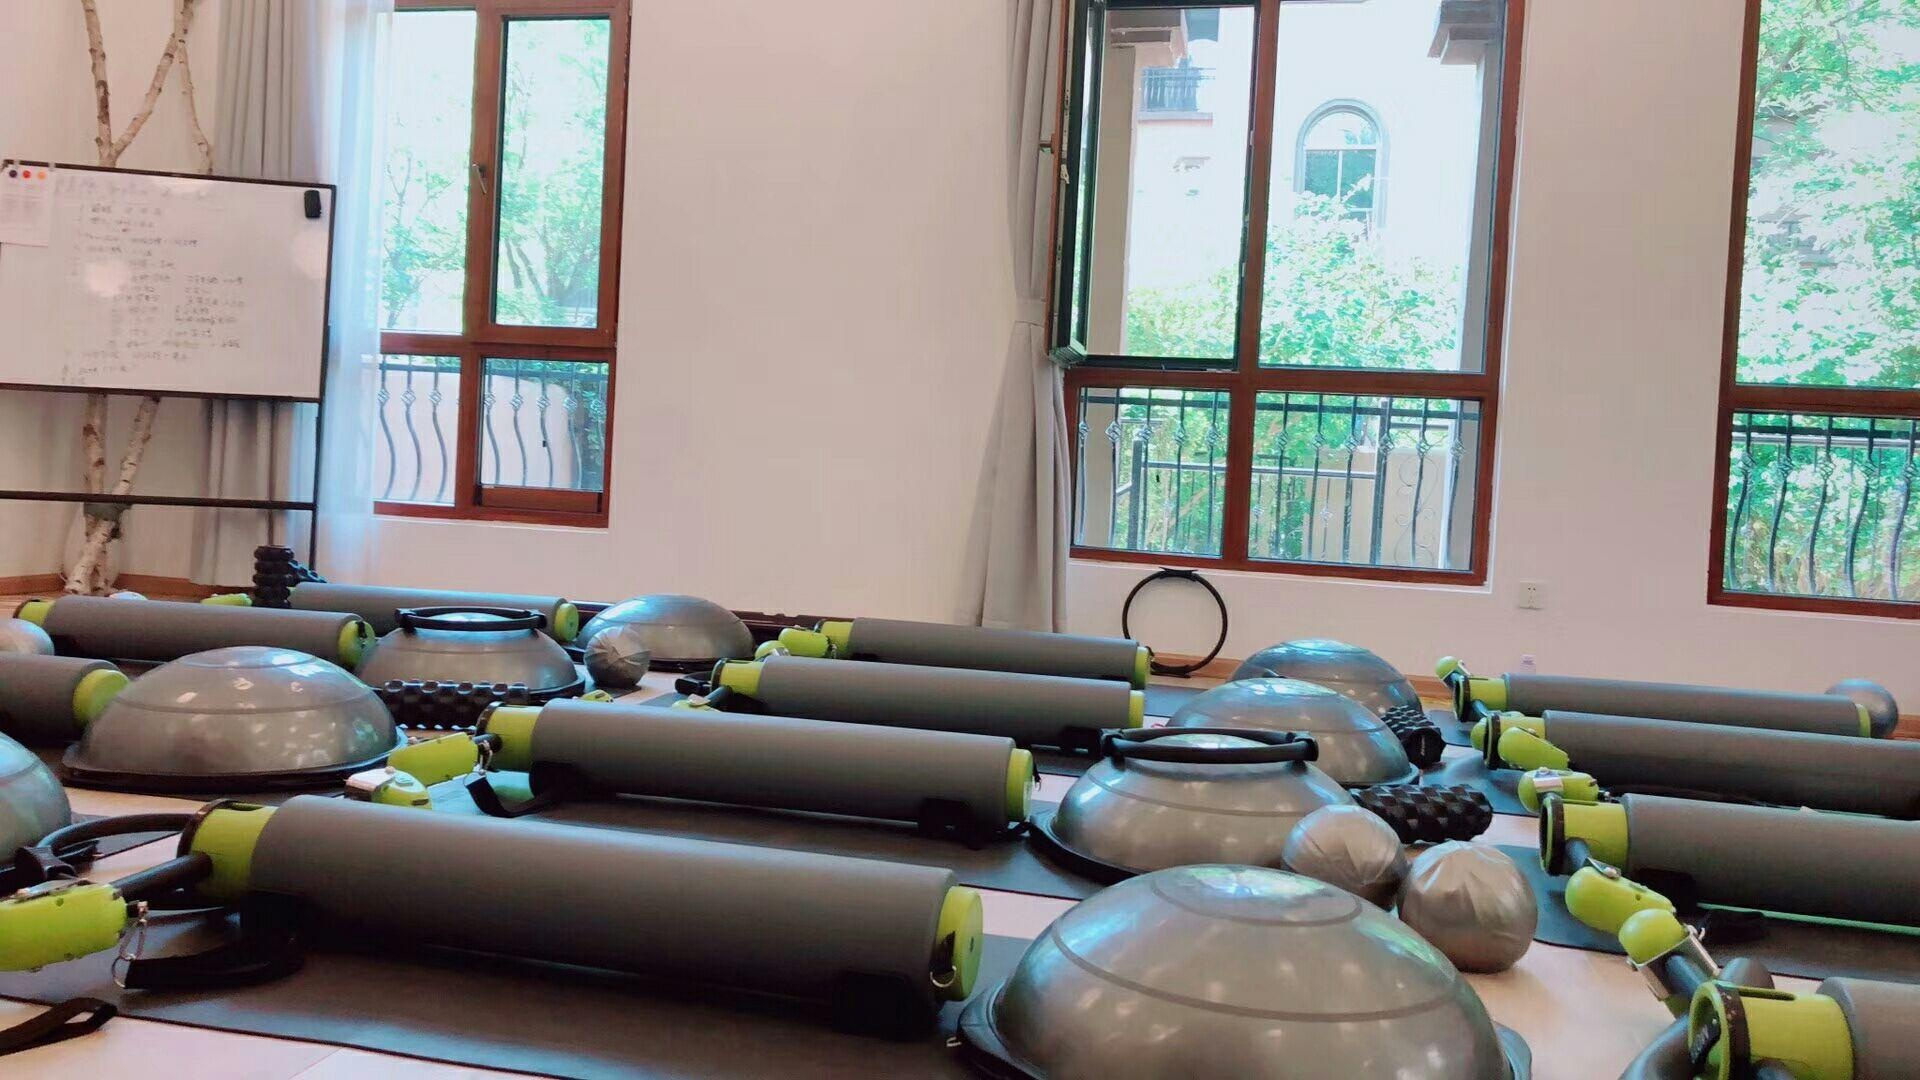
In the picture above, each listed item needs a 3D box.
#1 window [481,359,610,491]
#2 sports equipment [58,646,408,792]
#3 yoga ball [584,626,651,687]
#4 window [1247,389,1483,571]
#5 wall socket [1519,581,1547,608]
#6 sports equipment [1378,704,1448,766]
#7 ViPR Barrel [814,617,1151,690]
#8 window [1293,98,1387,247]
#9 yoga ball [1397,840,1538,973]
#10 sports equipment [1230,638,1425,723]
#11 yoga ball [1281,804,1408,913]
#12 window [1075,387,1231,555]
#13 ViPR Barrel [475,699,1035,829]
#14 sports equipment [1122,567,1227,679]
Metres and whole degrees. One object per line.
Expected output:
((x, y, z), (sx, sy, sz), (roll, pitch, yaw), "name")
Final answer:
((-2.184, -0.610, 6.949), (0.783, 0.693, 0.053), (2, 2, 10), "window")
((-2.261, 0.586, 4.091), (0.671, 0.208, 0.610), (0, -1, 8), "sports equipment")
((-1.338, 0.471, 5.214), (0.251, 0.227, 0.247), (1, -6, 0), "yoga ball")
((2.022, -0.286, 6.336), (0.976, 0.657, 0.067), (3, 5, 11), "window")
((2.663, 0.255, 6.071), (0.134, 0.112, 0.124), (0, -6, 10), "wall socket")
((1.653, 0.716, 4.794), (0.154, 0.112, 0.276), (5, 10, 5), "sports equipment")
((0.054, 0.447, 5.287), (1.442, 0.220, 0.231), (5, -1, 7), "ViPR Barrel")
((1.849, -1.807, 6.360), (0.409, 0.625, 0.031), (3, -1, 11), "window")
((1.391, 0.987, 3.615), (0.425, 0.280, 0.337), (17, -11, -24), "yoga ball")
((1.462, 0.515, 4.999), (0.443, 0.140, 0.418), (12, -3, -43), "sports equipment")
((1.074, 0.837, 3.642), (0.339, 0.301, 0.260), (24, 1, 21), "yoga ball")
((0.992, -0.329, 6.499), (0.904, 0.861, 0.050), (3, 5, 17), "window")
((-0.685, 0.715, 4.071), (1.398, 0.283, 0.299), (3, -5, 6), "ViPR Barrel")
((1.037, 0.396, 6.333), (0.612, 0.546, 0.105), (6, 1, 43), "sports equipment")
